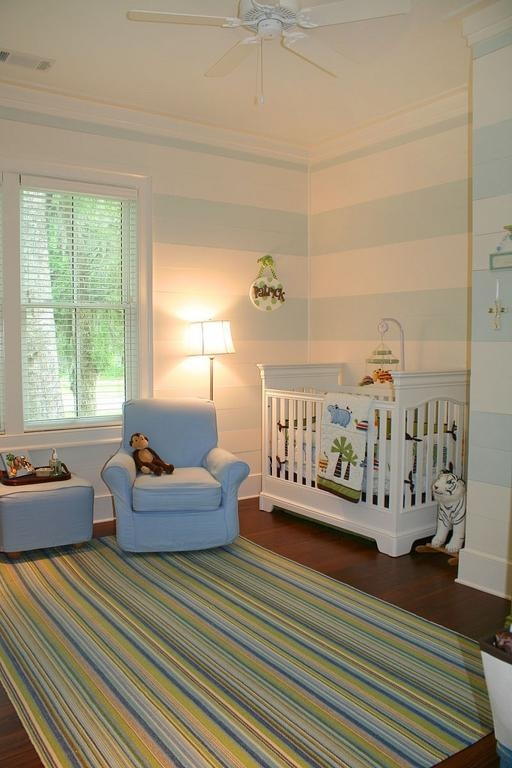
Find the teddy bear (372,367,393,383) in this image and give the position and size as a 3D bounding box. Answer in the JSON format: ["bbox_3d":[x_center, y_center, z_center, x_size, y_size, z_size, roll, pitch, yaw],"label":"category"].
[{"bbox_3d":[0.835,-0.047,3.627,0.116,0.065,0.119,1,-1,39],"label":"teddy bear"}]

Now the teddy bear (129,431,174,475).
[{"bbox_3d":[-0.576,0.387,3.229,0.277,0.209,0.176,10,14,34],"label":"teddy bear"}]

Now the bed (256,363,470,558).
[{"bbox_3d":[0.699,0.349,3.612,0.945,1.267,1.516,-6,8,-38],"label":"bed"}]

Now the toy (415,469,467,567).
[{"bbox_3d":[1.044,0.734,3.013,0.213,0.400,0.561,0,-16,26],"label":"toy"}]

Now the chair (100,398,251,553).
[{"bbox_3d":[-0.449,0.496,3.243,0.742,0.734,0.815,-2,5,-5],"label":"chair"}]

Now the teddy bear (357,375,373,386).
[{"bbox_3d":[0.746,-0.026,3.718,0.066,0.039,0.082,-8,6,38],"label":"teddy bear"}]

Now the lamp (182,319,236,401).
[{"bbox_3d":[-0.301,-0.157,3.831,0.322,0.422,0.336,0,0,-26],"label":"lamp"}]
